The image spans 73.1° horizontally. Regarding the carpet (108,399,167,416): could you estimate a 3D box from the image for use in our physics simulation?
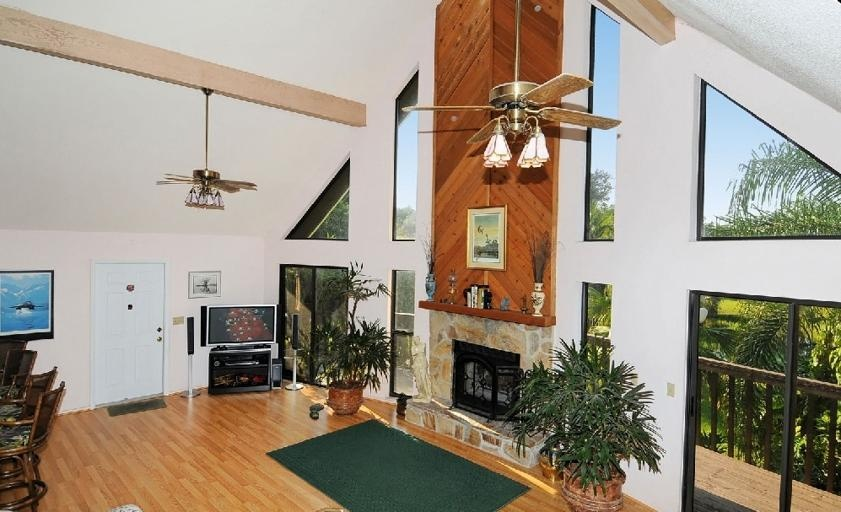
[{"bbox_3d":[-5.339,2.839,10.670,0.961,0.167,0.580,0,-4,-31],"label":"carpet"}]

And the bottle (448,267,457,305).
[{"bbox_3d":[0.551,0.534,9.966,0.156,0.579,0.303,-2,-2,1],"label":"bottle"}]

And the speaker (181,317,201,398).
[{"bbox_3d":[-4.597,2.008,11.348,0.276,1.583,0.476,-1,-2,-23],"label":"speaker"}]

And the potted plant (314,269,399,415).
[{"bbox_3d":[-1.218,1.529,10.770,1.426,2.816,1.129,-2,-2,15],"label":"potted plant"}]

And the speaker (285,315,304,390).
[{"bbox_3d":[-2.657,1.983,11.818,0.372,1.536,0.597,-1,-2,-22],"label":"speaker"}]

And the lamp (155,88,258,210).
[{"bbox_3d":[-3.233,-1.639,8.582,1.492,1.710,1.486,11,10,44],"label":"lamp"}]

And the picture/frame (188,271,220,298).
[{"bbox_3d":[-4.469,0.581,11.619,0.554,0.511,0.035,3,-2,-42],"label":"picture/frame"}]

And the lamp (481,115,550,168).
[{"bbox_3d":[1.139,-1.410,6.754,0.787,0.533,0.777,-1,8,-23],"label":"lamp"}]

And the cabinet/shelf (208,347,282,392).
[{"bbox_3d":[-3.740,2.299,11.642,1.118,0.804,0.585,0,-1,-20],"label":"cabinet/shelf"}]

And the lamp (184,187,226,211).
[{"bbox_3d":[-3.281,-0.862,8.597,0.550,0.201,0.412,2,2,44],"label":"lamp"}]

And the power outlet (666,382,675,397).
[{"bbox_3d":[3.514,1.885,7.979,0.113,0.187,0.014,-3,-2,29],"label":"power outlet"}]
